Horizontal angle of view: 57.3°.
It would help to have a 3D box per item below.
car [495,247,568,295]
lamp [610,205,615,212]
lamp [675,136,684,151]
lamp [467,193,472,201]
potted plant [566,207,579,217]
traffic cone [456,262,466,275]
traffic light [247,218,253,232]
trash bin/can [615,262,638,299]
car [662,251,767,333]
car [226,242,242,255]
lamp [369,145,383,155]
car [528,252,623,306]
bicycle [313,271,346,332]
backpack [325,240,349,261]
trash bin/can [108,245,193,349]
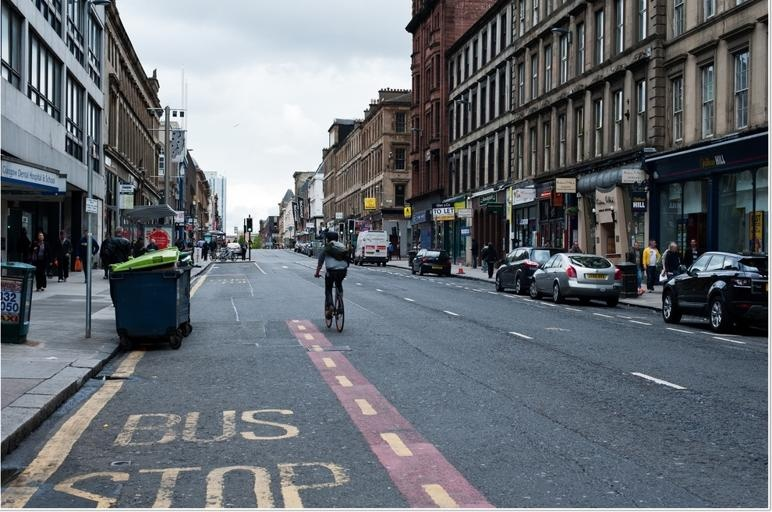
[{"bbox_3d":[5.550,0.535,28.298,1.315,1.210,3.118,0,3,-7],"label":"car"},{"bbox_3d":[10.735,-2.254,33.146,0.238,0.289,0.339,-5,9,16],"label":"lamp"},{"bbox_3d":[12.052,-4.599,28.827,0.134,0.576,0.582,12,2,-9],"label":"lamp"},{"bbox_3d":[6.522,-4.525,54.564,0.136,0.475,0.666,-1,1,-16],"label":"lamp"},{"bbox_3d":[9.797,-2.299,36.672,0.468,0.384,0.476,1,2,-10],"label":"potted plant"},{"bbox_3d":[5.409,0.836,50.096,0.530,0.658,0.513,-7,-5,43],"label":"traffic cone"},{"bbox_3d":[-14.615,-3.288,75.498,0.393,1.270,1.028,-1,1,-5],"label":"traffic light"},{"bbox_3d":[8.926,0.883,25.749,0.698,1.031,0.697,4,-1,33],"label":"trash bin/can"},{"bbox_3d":[7.896,0.792,16.956,1.123,1.076,2.532,3,2,-10],"label":"car"},{"bbox_3d":[-19.039,-0.991,88.461,1.572,1.616,2.819,0,-8,-18],"label":"car"},{"bbox_3d":[-1.123,-13.703,91.342,0.440,0.741,4.851,17,-8,-22],"label":"lamp"},{"bbox_3d":[6.425,0.764,23.849,2.899,1.738,1.621,0,1,35],"label":"car"},{"bbox_3d":[-1.261,1.144,16.283,0.512,0.783,1.209,-1,9,-11],"label":"bicycle"},{"bbox_3d":[-1.091,-0.159,15.964,0.453,0.198,0.379,17,-4,0],"label":"backpack"},{"bbox_3d":[-4.632,0.867,13.949,1.304,1.782,2.035,-1,-1,-13],"label":"trash bin/can"}]
